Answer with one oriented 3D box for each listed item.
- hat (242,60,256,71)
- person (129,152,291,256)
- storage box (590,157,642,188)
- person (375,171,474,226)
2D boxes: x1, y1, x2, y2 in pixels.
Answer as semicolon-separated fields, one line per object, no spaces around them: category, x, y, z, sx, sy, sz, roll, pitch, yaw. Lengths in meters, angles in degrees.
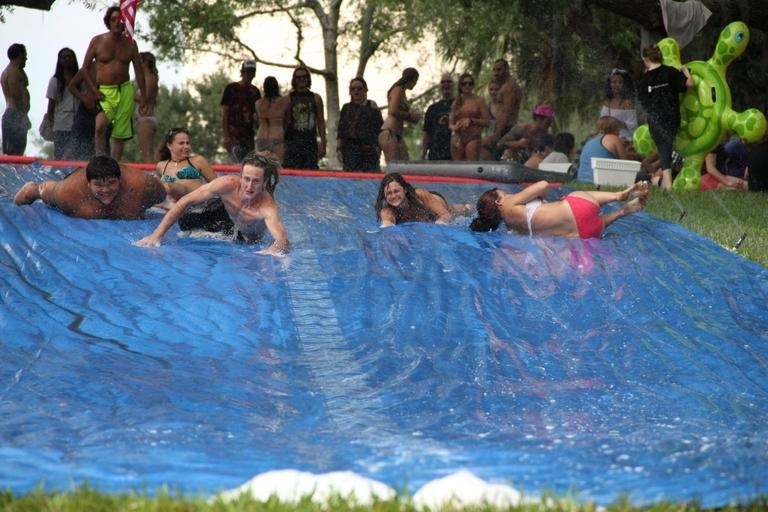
hat;-1.961;-2.778;14.313;0.183;0.141;0.247;2;9;-24
person;-1.552;-0.463;10.116;1.091;0.749;1.338;20;16;-15
storage box;3.093;-1.122;13.120;0.525;0.285;0.393;2;7;-3
person;0.384;-0.628;11.827;0.877;0.791;1.885;-9;4;17
